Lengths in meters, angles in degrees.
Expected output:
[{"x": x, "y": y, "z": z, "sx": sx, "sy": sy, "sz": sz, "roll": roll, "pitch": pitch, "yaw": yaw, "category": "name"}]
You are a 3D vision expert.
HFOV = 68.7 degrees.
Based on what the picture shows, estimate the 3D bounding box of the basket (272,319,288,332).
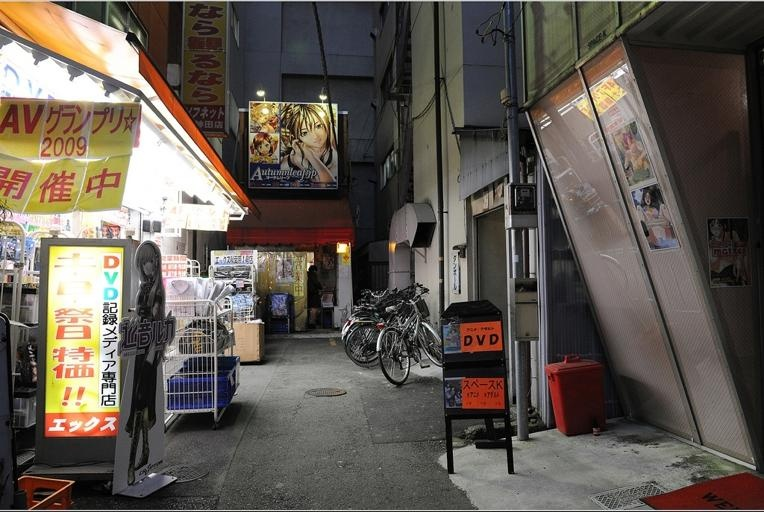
[{"x": -3.198, "y": 2.138, "z": 17.561, "sx": 0.486, "sy": 0.503, "sz": 0.383, "roll": 1, "pitch": 4, "yaw": 2, "category": "basket"}]

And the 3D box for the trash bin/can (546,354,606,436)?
[{"x": 2.440, "y": 1.806, "z": 7.087, "sx": 0.818, "sy": 1.104, "sz": 0.610, "roll": -4, "pitch": -4, "yaw": -7, "category": "trash bin/can"}]

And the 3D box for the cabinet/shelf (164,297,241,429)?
[{"x": -2.550, "y": 1.532, "z": 7.779, "sx": 0.931, "sy": 1.820, "sz": 1.789, "roll": -1, "pitch": -1, "yaw": -5, "category": "cabinet/shelf"}]

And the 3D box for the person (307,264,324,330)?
[{"x": -2.297, "y": 1.408, "z": 18.871, "sx": 0.486, "sy": 2.146, "sz": 0.902, "roll": -2, "pitch": 3, "yaw": -9, "category": "person"}]

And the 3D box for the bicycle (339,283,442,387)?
[{"x": 0.210, "y": 1.565, "z": 10.832, "sx": 1.478, "sy": 1.455, "sz": 2.309, "roll": -3, "pitch": 4, "yaw": -22, "category": "bicycle"}]

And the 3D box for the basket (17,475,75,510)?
[{"x": -3.206, "y": 2.252, "z": 5.315, "sx": 0.381, "sy": 0.246, "sz": 0.382, "roll": 8, "pitch": -9, "yaw": -31, "category": "basket"}]

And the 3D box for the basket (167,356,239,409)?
[{"x": -2.581, "y": 1.769, "z": 8.024, "sx": 0.771, "sy": 0.776, "sz": 0.840, "roll": -1, "pitch": 3, "yaw": 3, "category": "basket"}]
